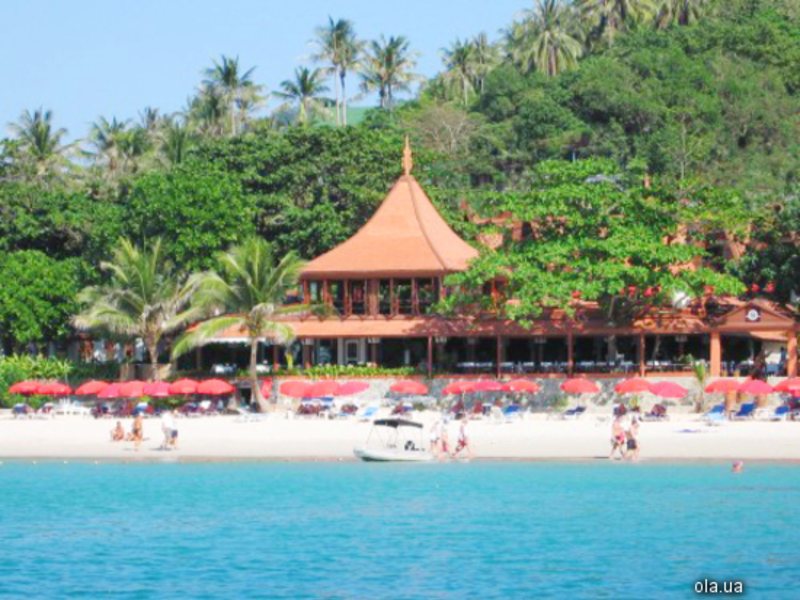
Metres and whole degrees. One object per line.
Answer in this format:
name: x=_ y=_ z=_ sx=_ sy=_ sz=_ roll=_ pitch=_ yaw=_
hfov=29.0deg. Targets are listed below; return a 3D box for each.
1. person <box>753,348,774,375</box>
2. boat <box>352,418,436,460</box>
person: x=20.562 y=3.547 z=87.637 sx=0.664 sy=1.306 sz=1.039 roll=-6 pitch=11 yaw=-13
boat: x=-0.255 y=6.790 z=74.957 sx=3.136 sy=1.699 sz=2.086 roll=3 pitch=-5 yaw=-22
